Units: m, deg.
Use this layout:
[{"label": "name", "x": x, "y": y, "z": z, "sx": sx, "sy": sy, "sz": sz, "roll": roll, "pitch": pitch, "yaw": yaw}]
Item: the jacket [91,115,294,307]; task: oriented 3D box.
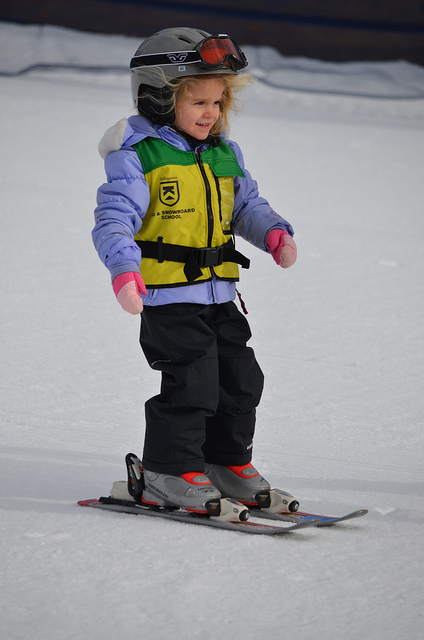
[{"label": "jacket", "x": -0.083, "y": -0.265, "z": 1.589, "sx": 0.364, "sy": 0.432, "sz": 0.498, "roll": 12, "pitch": 17, "yaw": 41}]

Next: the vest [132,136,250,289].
[{"label": "vest", "x": -0.068, "y": -0.264, "z": 1.601, "sx": 0.328, "sy": 0.377, "sz": 0.239, "roll": -13, "pitch": 19, "yaw": -40}]

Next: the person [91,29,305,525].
[{"label": "person", "x": -0.040, "y": -0.125, "z": 1.553, "sx": 0.465, "sy": 1.122, "sz": 0.381, "roll": 2, "pitch": 1, "yaw": -16}]
